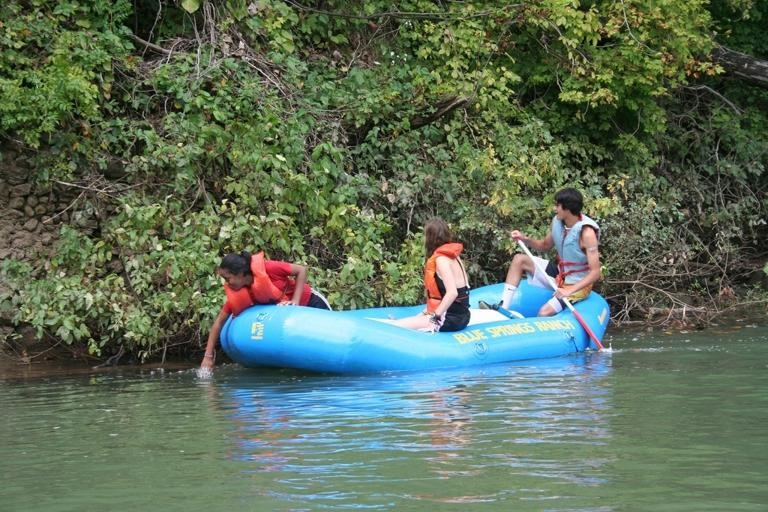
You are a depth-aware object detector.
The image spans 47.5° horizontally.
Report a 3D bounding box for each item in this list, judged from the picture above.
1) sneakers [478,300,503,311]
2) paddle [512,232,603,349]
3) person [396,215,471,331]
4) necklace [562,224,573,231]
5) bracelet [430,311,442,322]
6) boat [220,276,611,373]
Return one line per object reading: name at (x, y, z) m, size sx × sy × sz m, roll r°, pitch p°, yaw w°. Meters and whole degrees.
sneakers at (1.327, 0.661, 11.129) m, size 0.338 × 0.112 × 0.133 m, roll 5°, pitch 11°, yaw 28°
paddle at (2.162, 0.490, 10.959) m, size 0.262 × 1.822 × 0.161 m, roll -37°, pitch -33°, yaw 5°
person at (0.576, 0.283, 10.234) m, size 0.983 × 1.331 × 0.901 m, roll -5°, pitch 7°, yaw -4°
necklace at (2.273, -0.343, 10.863) m, size 0.084 × 0.036 × 0.103 m, roll 2°, pitch -5°, yaw 0°
bracelet at (0.589, 0.712, 9.976) m, size 0.109 × 0.124 × 0.297 m, roll 2°, pitch 1°, yaw 16°
boat at (0.633, 0.979, 10.134) m, size 3.530 × 0.597 × 1.674 m, roll 1°, pitch -3°, yaw -32°
